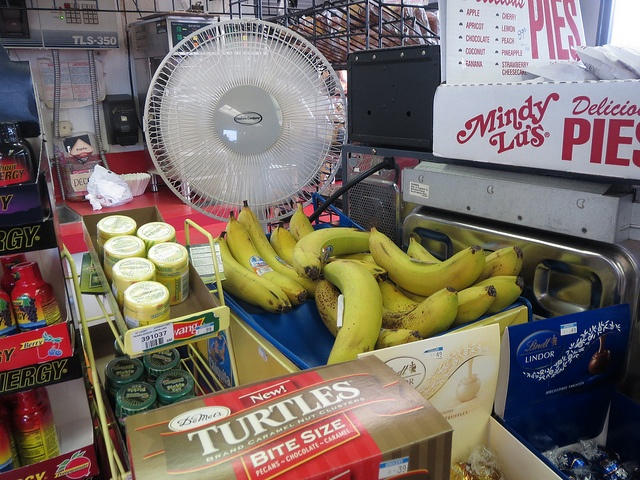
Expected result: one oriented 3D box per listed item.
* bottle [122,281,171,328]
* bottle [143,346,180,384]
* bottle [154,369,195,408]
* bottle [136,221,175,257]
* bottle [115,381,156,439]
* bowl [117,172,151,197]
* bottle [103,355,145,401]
[{"bbox_3d":[-0.354,0.132,0.871,0.084,0.076,0.091,5,38,-2],"label":"bottle"},{"bbox_3d":[-0.408,0.317,1.105,0.068,0.068,0.073,-9,44,-17],"label":"bottle"},{"bbox_3d":[-0.353,0.355,1.040,0.086,0.095,0.094,-12,55,-21],"label":"bottle"},{"bbox_3d":[-0.401,-0.015,1.047,0.069,0.072,0.075,-4,38,-16],"label":"bottle"},{"bbox_3d":[-0.428,0.392,1.004,0.087,0.074,0.085,-3,15,2],"label":"bottle"},{"bbox_3d":[-1.403,-0.468,3.325,0.180,0.115,0.194,3,33,-2],"label":"bowl"},{"bbox_3d":[-0.487,0.330,1.067,0.080,0.080,0.086,-7,42,-21],"label":"bottle"}]
